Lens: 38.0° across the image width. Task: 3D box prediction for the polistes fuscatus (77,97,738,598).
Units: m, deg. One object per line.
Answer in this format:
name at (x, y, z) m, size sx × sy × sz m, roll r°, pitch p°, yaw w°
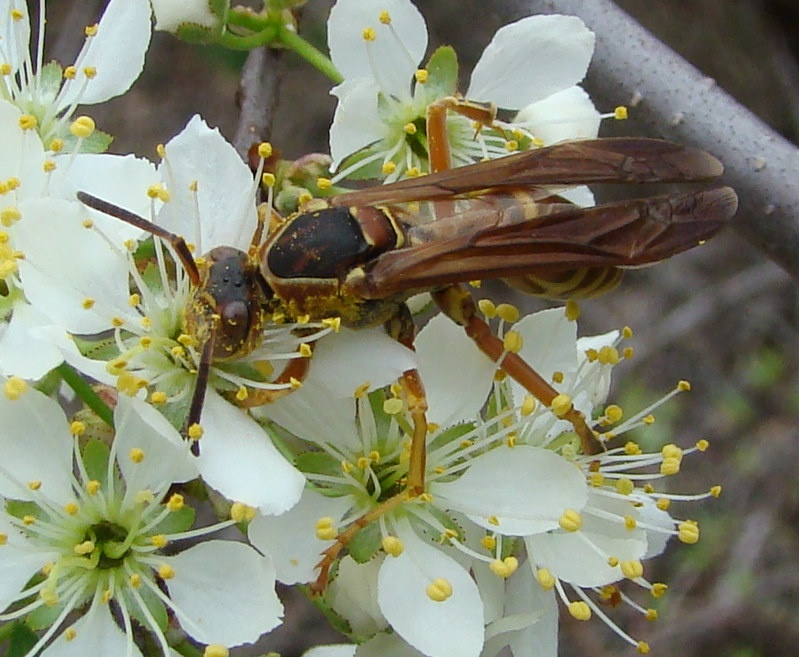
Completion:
polistes fuscatus at (0.041, -0.097, 2.034) m, size 1.152 × 0.336 × 0.821 m, roll -14°, pitch 49°, yaw -15°
